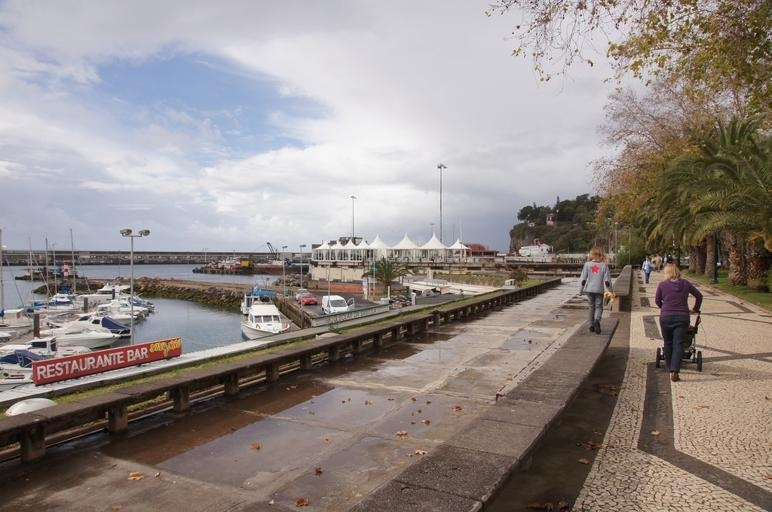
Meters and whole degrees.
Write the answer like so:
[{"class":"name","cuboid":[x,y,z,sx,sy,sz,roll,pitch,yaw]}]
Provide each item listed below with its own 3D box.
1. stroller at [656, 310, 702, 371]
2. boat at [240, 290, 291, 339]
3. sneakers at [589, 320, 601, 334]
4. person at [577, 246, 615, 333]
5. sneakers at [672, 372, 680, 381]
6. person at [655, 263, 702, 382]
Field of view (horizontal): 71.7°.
[{"class":"stroller","cuboid":[7.634,2.127,13.879,1.110,1.471,1.336,1,-4,31]},{"class":"boat","cuboid":[-10.786,5.138,47.562,3.849,3.871,12.097,-1,7,-19]},{"class":"sneakers","cuboid":[5.943,2.010,15.134,0.199,0.472,0.215,-3,3,37]},{"class":"person","cuboid":[6.015,0.948,15.333,0.791,2.417,1.619,2,9,20]},{"class":"sneakers","cuboid":[6.873,2.865,12.644,0.157,0.144,0.243,5,20,31]},{"class":"person","cuboid":[7.041,1.532,12.896,0.918,2.831,1.073,4,10,29]}]
